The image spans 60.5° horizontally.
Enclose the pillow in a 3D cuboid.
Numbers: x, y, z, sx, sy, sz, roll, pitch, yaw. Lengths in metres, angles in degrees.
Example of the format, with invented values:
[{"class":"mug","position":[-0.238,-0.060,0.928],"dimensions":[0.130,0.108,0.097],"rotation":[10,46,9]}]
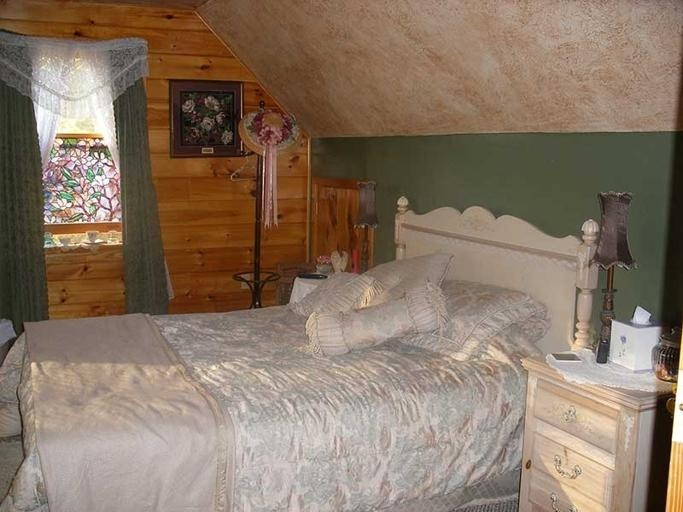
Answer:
[{"class":"pillow","position":[0.403,0.306,3.385],"dimensions":[0.835,0.265,0.825],"rotation":[5,16,41]}]

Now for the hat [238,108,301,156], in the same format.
[{"class":"hat","position":[-0.655,-1.140,5.409],"dimensions":[0.572,0.401,0.238],"rotation":[0,14,-10]}]
